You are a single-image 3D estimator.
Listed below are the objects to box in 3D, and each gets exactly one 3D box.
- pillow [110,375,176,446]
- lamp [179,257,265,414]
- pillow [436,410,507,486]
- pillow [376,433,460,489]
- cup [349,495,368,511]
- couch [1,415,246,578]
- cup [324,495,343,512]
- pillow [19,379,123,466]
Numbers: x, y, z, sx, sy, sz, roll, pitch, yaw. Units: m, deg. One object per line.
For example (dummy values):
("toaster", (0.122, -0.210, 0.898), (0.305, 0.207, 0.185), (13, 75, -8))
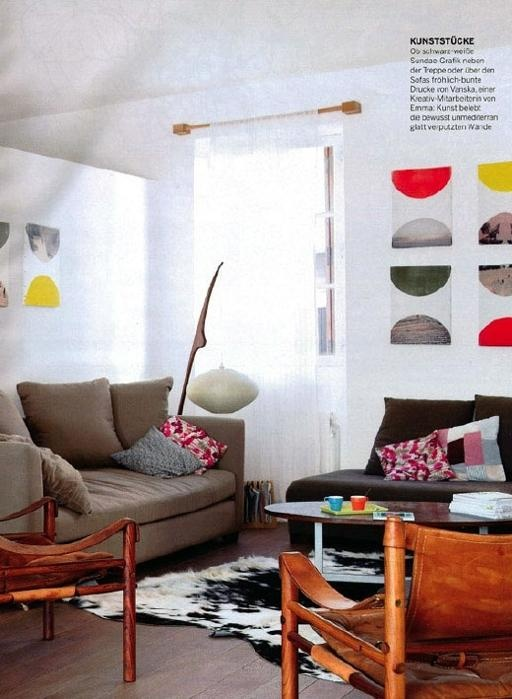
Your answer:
("pillow", (-0.722, 0.396, 4.311), (0.416, 0.350, 0.129), (-7, -24, -12))
("lamp", (-0.280, -0.095, 4.747), (0.520, 1.117, 0.715), (0, -3, -6))
("pillow", (1.119, 0.524, 3.708), (0.379, 0.311, 0.108), (-13, -25, 25))
("pillow", (0.919, 0.631, 3.979), (0.442, 0.096, 0.408), (-12, 26, -21))
("cup", (0.430, 0.654, 2.912), (0.067, 0.049, 0.074), (-2, -10, 10))
("couch", (-0.782, 0.781, 3.605), (0.764, 0.570, 1.452), (-3, -4, 29))
("cup", (0.321, 0.655, 2.916), (0.064, 0.054, 0.085), (0, -7, -7))
("pillow", (-1.109, 0.454, 4.032), (0.332, 0.502, 0.665), (1, -2, 44))
